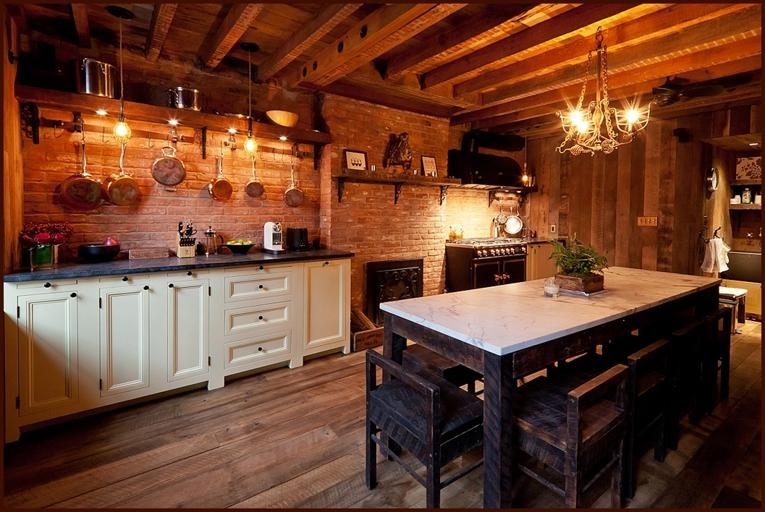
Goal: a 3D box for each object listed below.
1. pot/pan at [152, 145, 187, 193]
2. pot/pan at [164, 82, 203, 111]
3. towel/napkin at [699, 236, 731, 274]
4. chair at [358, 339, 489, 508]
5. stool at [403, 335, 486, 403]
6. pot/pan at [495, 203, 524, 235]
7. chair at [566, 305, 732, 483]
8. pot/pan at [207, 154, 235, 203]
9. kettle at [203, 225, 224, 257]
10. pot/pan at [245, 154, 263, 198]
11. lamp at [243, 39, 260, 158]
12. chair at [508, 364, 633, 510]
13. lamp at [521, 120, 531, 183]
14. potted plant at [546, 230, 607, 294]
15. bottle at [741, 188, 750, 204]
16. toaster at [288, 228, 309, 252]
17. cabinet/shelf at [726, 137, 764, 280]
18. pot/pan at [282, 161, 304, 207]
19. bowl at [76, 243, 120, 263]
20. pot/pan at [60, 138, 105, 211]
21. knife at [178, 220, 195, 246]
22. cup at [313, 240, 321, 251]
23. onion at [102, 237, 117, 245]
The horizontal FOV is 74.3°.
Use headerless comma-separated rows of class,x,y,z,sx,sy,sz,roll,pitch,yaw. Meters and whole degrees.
pot/pan,-2.201,-0.922,5.213,0.345,0.472,0.112,-2,7,-20
pot/pan,-1.967,-1.585,5.039,0.296,0.157,0.265,-2,6,-13
towel/napkin,4.315,-0.010,6.593,0.578,0.535,0.335,-2,1,-37
chair,0.327,1.257,3.774,0.790,1.077,0.513,5,8,43
stool,0.509,0.878,4.142,0.485,0.264,0.658,-2,7,-38
pot/pan,2.006,-0.560,8.109,0.436,0.535,0.084,-1,-8,-17
chair,2.046,1.106,3.937,1.493,0.673,0.428,-9,11,-36
pot/pan,-1.742,-0.843,5.454,0.283,0.443,0.073,-9,5,-40
kettle,-1.829,-0.170,5.433,0.165,0.297,0.237,0,6,6
pot/pan,-1.427,-0.886,5.664,0.237,0.481,0.080,-6,9,-44
lamp,-1.426,-1.681,5.519,0.172,1.113,0.502,-2,6,-14
chair,1.370,1.333,3.728,0.817,1.105,0.623,-6,8,-44
lamp,2.331,-1.519,8.066,0.171,0.844,0.670,2,6,15
potted plant,1.680,0.048,4.604,0.531,0.591,0.694,-4,5,-34
bottle,5.035,-0.838,7.004,0.120,0.212,0.201,4,7,31
toaster,-0.968,-0.194,5.753,0.220,0.231,0.288,-1,-1,-38
cabinet/shelf,4.958,-0.588,6.918,0.384,1.843,0.658,4,7,32
pot/pan,-1.041,-0.821,5.900,0.225,0.508,0.092,-6,9,-44
bowl,-2.704,-0.027,4.802,0.362,0.165,0.183,-1,6,-13
pot/pan,-2.872,-0.770,4.815,0.375,0.672,0.134,-4,7,-29
knife,-2.018,-0.240,5.227,0.166,0.255,0.319,-2,6,-19
cup,-0.779,-0.145,6.024,0.097,0.108,0.164,-1,5,-5
onion,-2.650,-0.145,4.926,0.105,0.065,0.119,25,3,2
